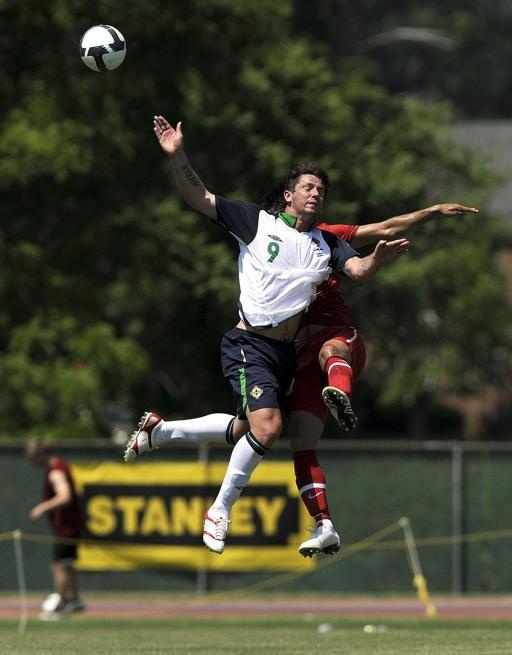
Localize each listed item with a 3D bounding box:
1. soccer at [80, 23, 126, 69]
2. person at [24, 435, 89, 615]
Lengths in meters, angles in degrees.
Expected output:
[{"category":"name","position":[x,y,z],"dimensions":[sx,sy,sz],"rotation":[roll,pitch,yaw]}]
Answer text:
[{"category":"soccer","position":[-1.133,-2.121,8.446],"dimensions":[0.427,0.320,0.368],"rotation":[2,-9,2]},{"category":"person","position":[-2.109,2.145,11.455],"dimensions":[0.846,0.695,2.108],"rotation":[-5,43,-5]}]
